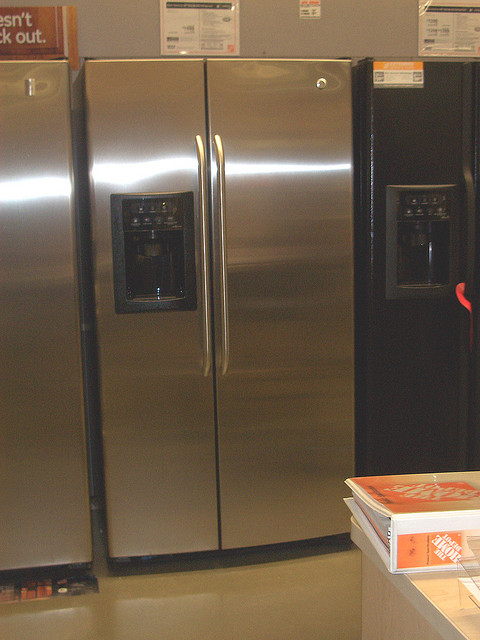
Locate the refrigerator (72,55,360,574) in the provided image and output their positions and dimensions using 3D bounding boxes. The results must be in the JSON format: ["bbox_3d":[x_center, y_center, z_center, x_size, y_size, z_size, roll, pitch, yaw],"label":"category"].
[{"bbox_3d":[-0.041,-0.008,2.092,0.915,1.188,0.438,-7,-4,-15],"label":"refrigerator"}]
